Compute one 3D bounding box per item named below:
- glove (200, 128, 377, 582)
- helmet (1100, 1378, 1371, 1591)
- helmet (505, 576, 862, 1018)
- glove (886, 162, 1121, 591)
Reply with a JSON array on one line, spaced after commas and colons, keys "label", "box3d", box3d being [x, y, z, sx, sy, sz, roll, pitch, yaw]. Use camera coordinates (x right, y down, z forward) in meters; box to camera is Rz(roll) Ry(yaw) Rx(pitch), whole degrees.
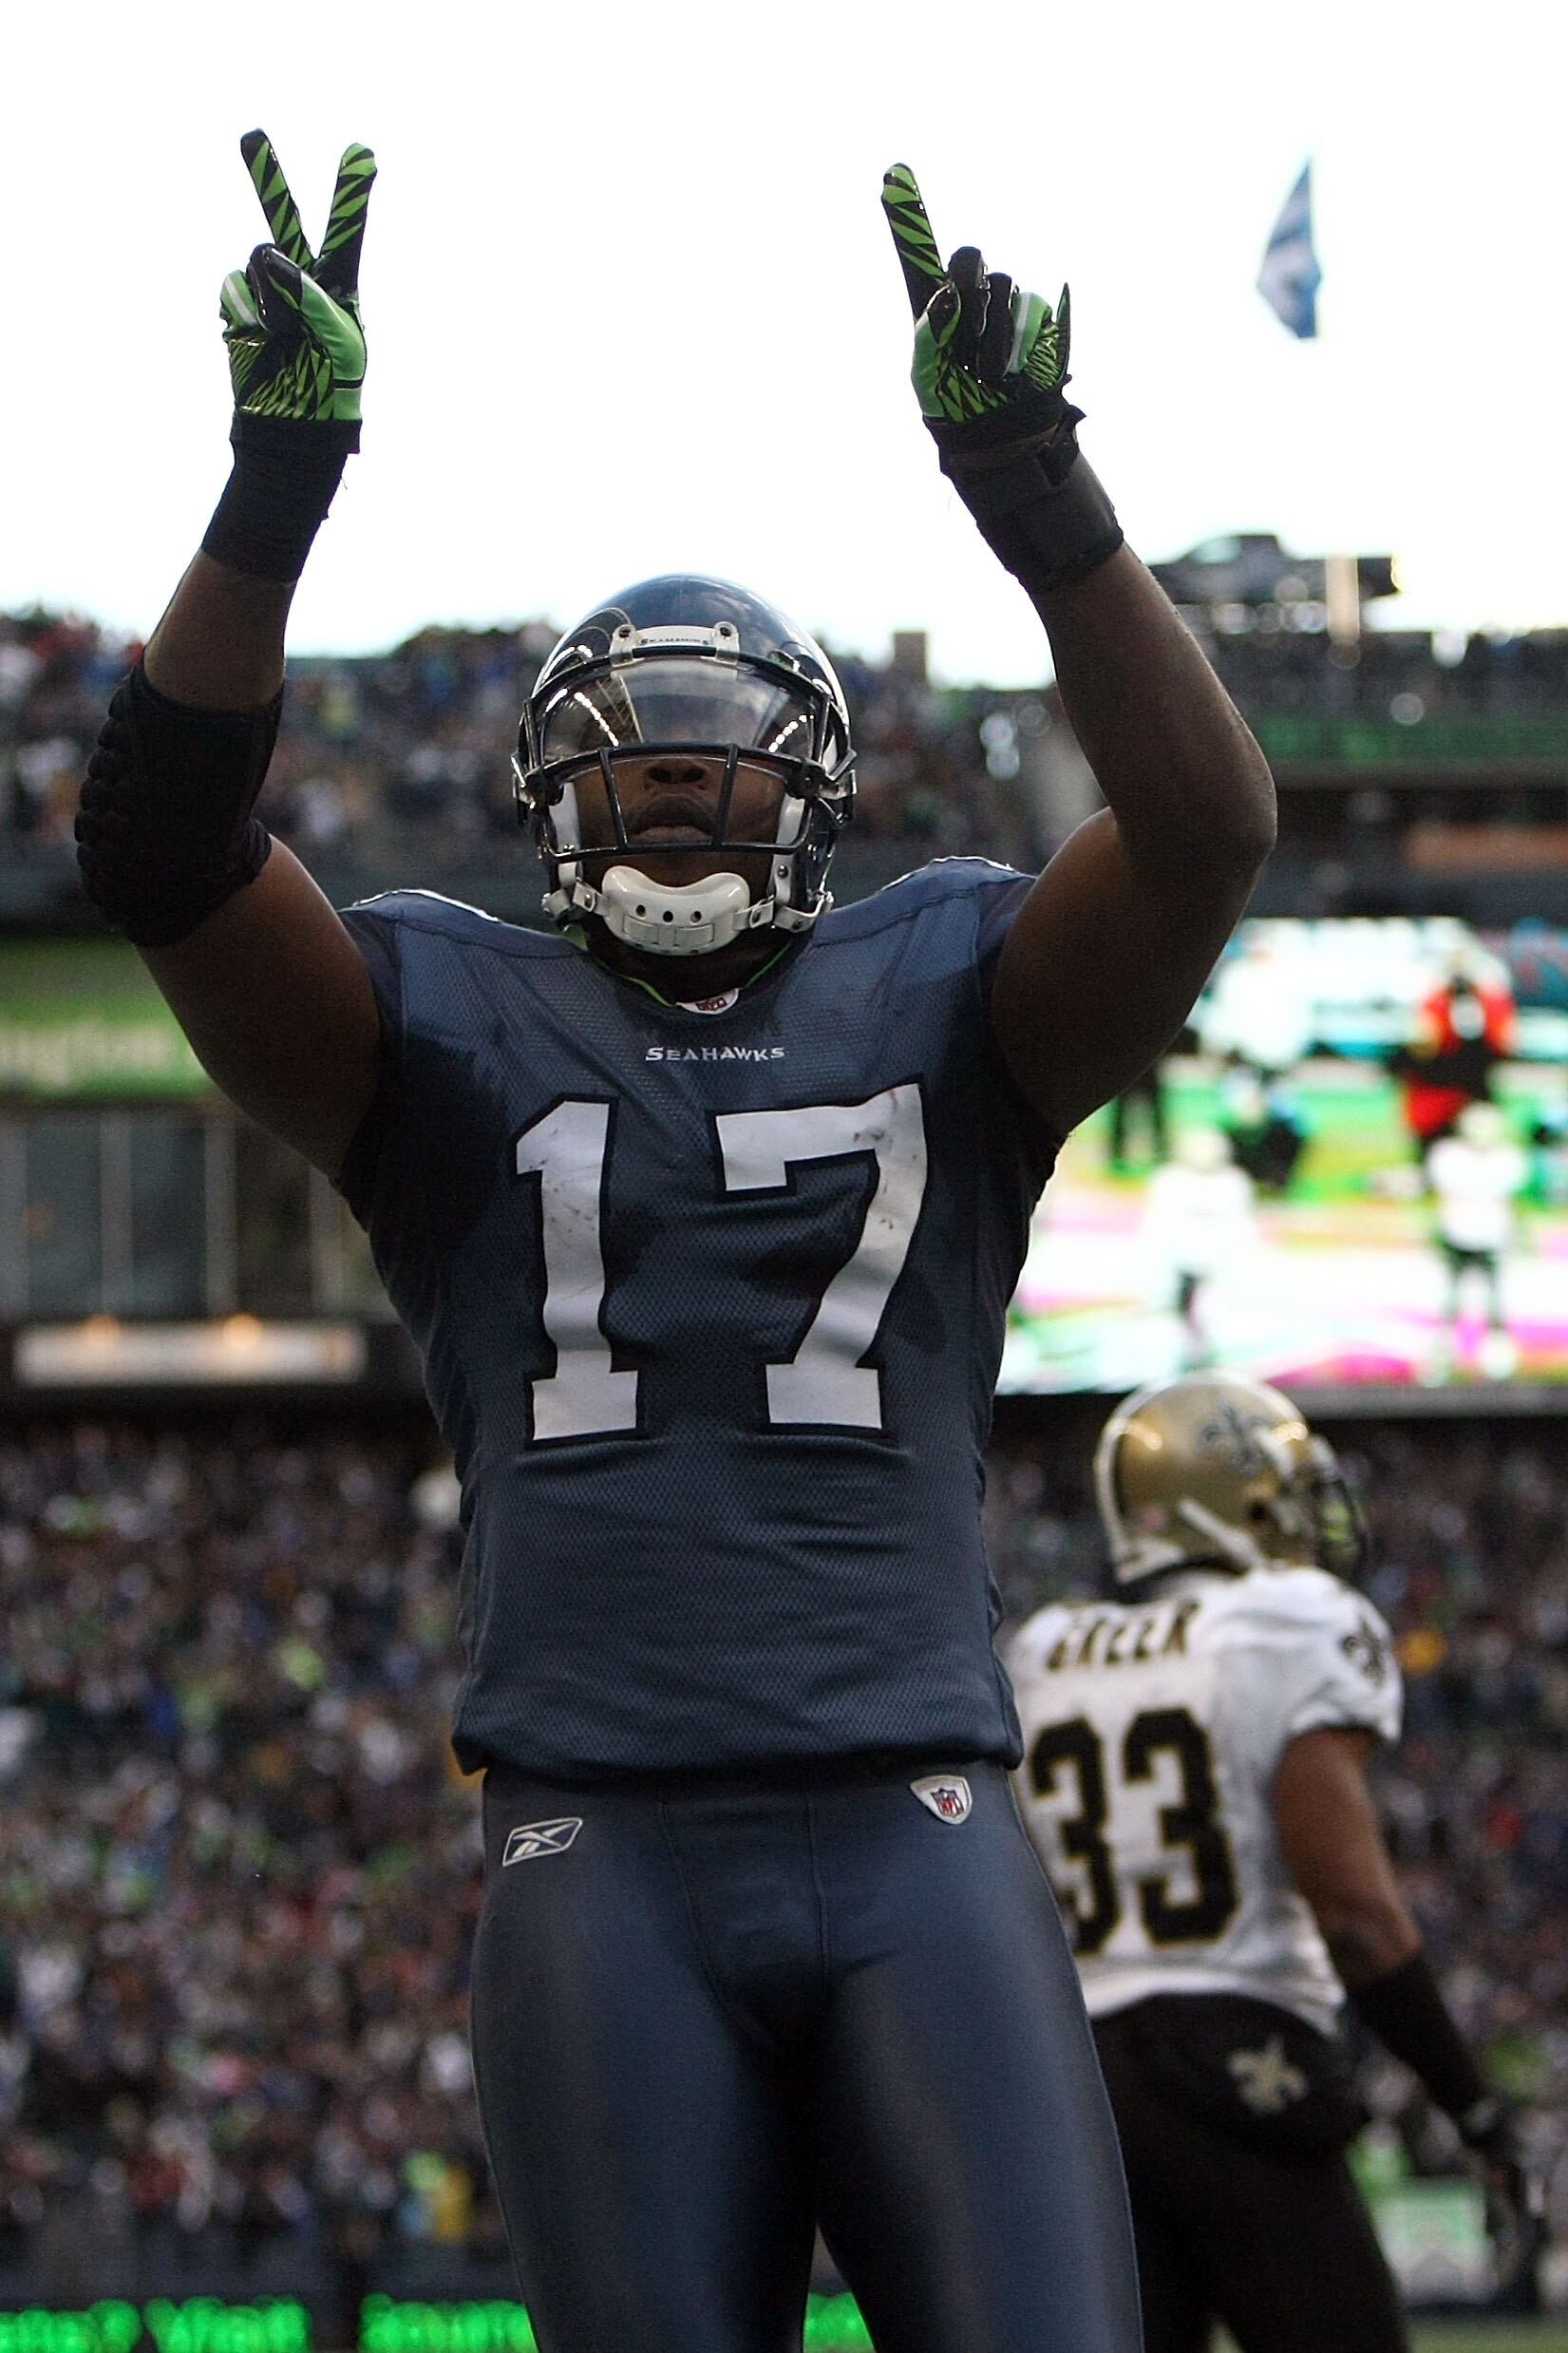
[{"label": "glove", "box3d": [-0.339, -0.552, 1.866, 0.114, 0.296, 0.101, 15, 14, 21]}, {"label": "helmet", "box3d": [0.569, 0.429, 3.760, 0.389, 0.298, 0.268, -1, -10, -16]}, {"label": "helmet", "box3d": [-0.079, -0.315, 2.166, 0.310, 0.306, 0.330, -5, -8, 31]}, {"label": "glove", "box3d": [0.138, -0.538, 1.819, 0.112, 0.303, 0.152, -12, 8, 9]}]
